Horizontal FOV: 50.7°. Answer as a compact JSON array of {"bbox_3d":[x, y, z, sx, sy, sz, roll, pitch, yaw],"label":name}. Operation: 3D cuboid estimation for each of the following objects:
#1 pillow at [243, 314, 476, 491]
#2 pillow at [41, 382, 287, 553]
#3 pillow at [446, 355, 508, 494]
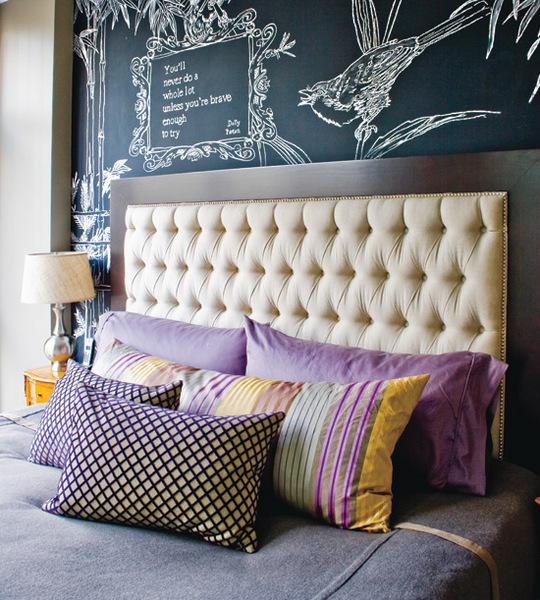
[{"bbox_3d":[0.248,0.301,1.746,0.793,0.404,0.246,8,9,24],"label":"pillow"},{"bbox_3d":[-0.270,0.388,1.377,0.517,0.302,0.202,9,0,6],"label":"pillow"},{"bbox_3d":[0.560,0.327,1.538,0.088,0.303,0.265,2,-9,43],"label":"pillow"}]
